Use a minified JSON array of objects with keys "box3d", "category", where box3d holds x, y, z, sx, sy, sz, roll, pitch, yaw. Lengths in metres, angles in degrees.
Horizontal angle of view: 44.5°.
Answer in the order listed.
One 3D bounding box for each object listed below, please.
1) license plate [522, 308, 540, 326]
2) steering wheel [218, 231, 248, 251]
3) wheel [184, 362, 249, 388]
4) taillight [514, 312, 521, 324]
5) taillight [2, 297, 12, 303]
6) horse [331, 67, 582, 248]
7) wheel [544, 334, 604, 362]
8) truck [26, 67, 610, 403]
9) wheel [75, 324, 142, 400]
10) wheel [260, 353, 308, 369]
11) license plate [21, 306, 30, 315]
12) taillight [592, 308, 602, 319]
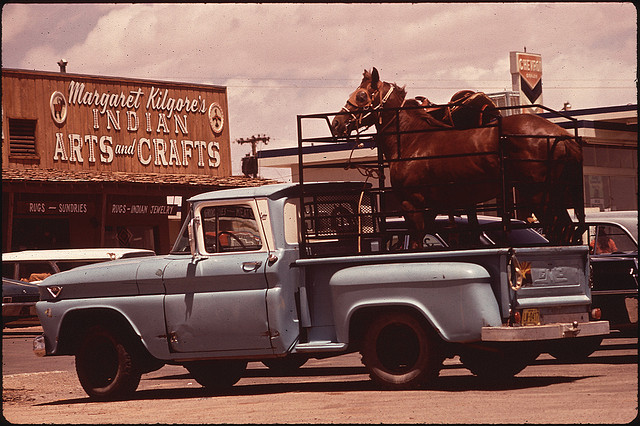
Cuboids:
[{"box3d":[2.936,1.444,10.768,0.225,0.208,0.227,-2,-6,17],"category":"license plate"},{"box3d":[-1.283,0.419,11.651,0.434,0.288,0.165,-1,6,32],"category":"steering wheel"},{"box3d":[-1.710,2.685,13.007,1.022,0.450,0.386,-5,5,-17],"category":"wheel"},{"box3d":[2.736,1.430,10.698,0.064,0.135,0.133,-1,6,34],"category":"taillight"},{"box3d":[-8.815,2.428,21.841,0.181,0.236,0.205,1,-1,1],"category":"taillight"},{"box3d":[2.505,-1.294,14.147,4.526,3.076,1.497,0,7,42],"category":"horse"},{"box3d":[4.513,2.358,13.659,0.910,0.432,0.405,-3,5,8],"category":"wheel"},{"box3d":[-0.348,-0.205,13.361,9.197,4.753,5.567,-3,-6,24],"category":"truck"},{"box3d":[-3.243,2.261,11.934,1.035,1.140,0.246,-3,5,17],"category":"wheel"},{"box3d":[-0.455,2.365,12.414,0.615,0.142,0.611,-3,-4,0],"category":"wheel"},{"box3d":[-8.283,2.733,21.814,0.213,0.194,0.050,3,-13,-5],"category":"license plate"},{"box3d":[4.101,1.501,11.493,0.158,0.145,0.157,3,6,16],"category":"taillight"}]
